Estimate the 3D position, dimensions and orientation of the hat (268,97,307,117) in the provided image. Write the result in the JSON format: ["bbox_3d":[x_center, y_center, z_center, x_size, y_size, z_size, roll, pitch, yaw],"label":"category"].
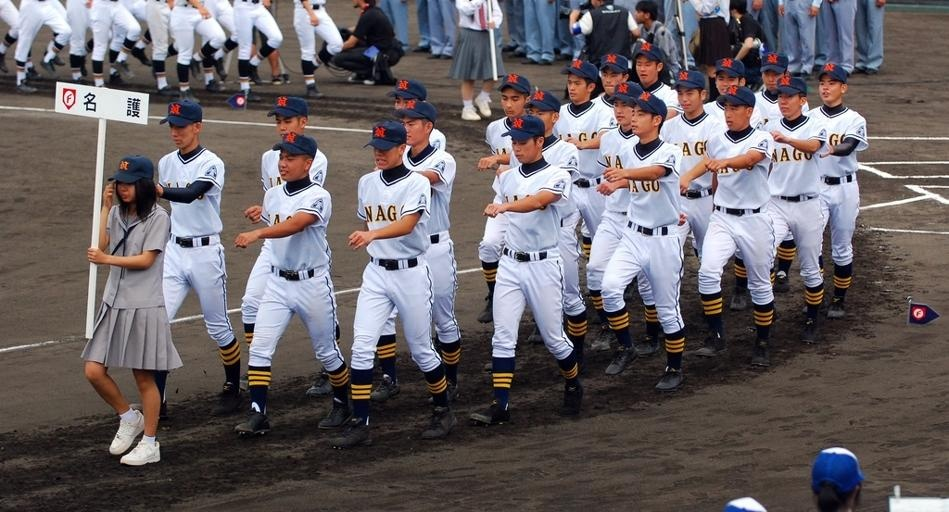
[{"bbox_3d":[-2.527,-2.080,16.312,0.346,0.209,0.499,6,10,44],"label":"hat"}]

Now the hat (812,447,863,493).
[{"bbox_3d":[3.885,2.215,12.559,0.431,0.261,0.533,3,27,18],"label":"hat"}]

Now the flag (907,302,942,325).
[{"bbox_3d":[5.732,0.716,15.102,0.313,0.289,0.488,3,14,15],"label":"flag"}]

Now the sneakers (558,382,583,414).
[{"bbox_3d":[1.299,1.911,15.863,0.215,0.211,0.505,2,32,11],"label":"sneakers"}]

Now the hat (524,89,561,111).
[{"bbox_3d":[1.020,-2.182,16.635,0.413,0.188,0.279,21,5,-28],"label":"hat"}]

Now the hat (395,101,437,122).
[{"bbox_3d":[-0.793,-1.979,15.960,0.500,0.198,0.305,4,8,-11],"label":"hat"}]

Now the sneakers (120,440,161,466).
[{"bbox_3d":[-4.201,2.511,14.926,0.641,0.241,0.231,-4,17,-22],"label":"sneakers"}]

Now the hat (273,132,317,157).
[{"bbox_3d":[-2.321,-1.475,15.437,0.533,0.158,0.321,7,6,-20],"label":"hat"}]

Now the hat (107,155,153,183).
[{"bbox_3d":[-4.346,-1.103,14.873,0.515,0.205,0.324,-2,9,-26],"label":"hat"}]

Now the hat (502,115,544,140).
[{"bbox_3d":[0.651,-1.720,15.623,0.490,0.214,0.314,-5,14,-11],"label":"hat"}]

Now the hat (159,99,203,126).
[{"bbox_3d":[-3.939,-1.956,15.966,0.430,0.332,0.665,-3,13,-9],"label":"hat"}]

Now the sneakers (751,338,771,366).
[{"bbox_3d":[4.068,1.376,16.694,0.188,0.189,0.496,2,55,13],"label":"sneakers"}]

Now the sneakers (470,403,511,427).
[{"bbox_3d":[0.220,2.116,15.620,0.566,0.233,0.256,3,7,-5],"label":"sneakers"}]

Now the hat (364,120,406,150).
[{"bbox_3d":[-1.124,-1.587,15.406,0.363,0.242,0.537,12,18,37],"label":"hat"}]

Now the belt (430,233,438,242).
[{"bbox_3d":[-0.542,-0.242,15.997,0.115,0.107,0.014,-5,16,-14],"label":"belt"}]

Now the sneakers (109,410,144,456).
[{"bbox_3d":[-4.437,2.280,15.076,0.231,0.590,0.260,36,-5,27],"label":"sneakers"}]
